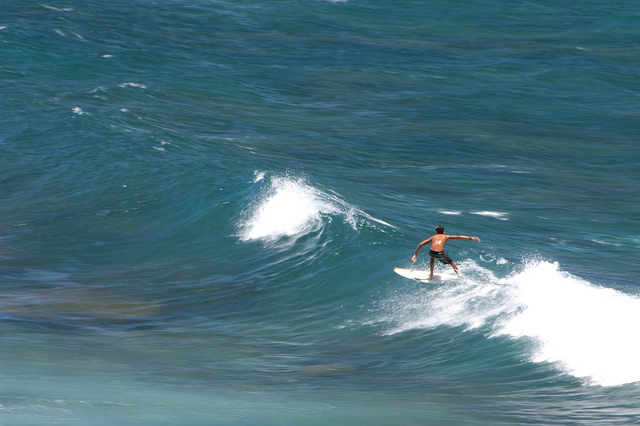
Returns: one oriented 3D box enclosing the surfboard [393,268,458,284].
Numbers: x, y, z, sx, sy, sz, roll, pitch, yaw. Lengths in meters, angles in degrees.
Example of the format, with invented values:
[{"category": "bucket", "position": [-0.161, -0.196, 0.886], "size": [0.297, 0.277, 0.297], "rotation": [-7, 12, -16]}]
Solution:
[{"category": "surfboard", "position": [4.364, 2.530, 38.045], "size": [2.476, 1.119, 0.252], "rotation": [-2, -52, 2]}]
